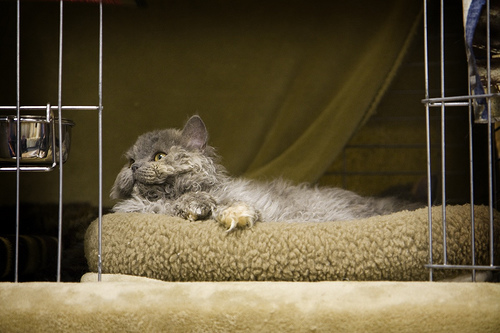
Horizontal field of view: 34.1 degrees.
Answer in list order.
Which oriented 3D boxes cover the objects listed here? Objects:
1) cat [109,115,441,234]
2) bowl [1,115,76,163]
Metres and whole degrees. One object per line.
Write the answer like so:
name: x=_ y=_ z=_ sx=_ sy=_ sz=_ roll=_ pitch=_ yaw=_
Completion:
cat: x=0.010 y=0.125 z=4.463 sx=1.140 sy=0.423 sz=0.848 roll=5 pitch=-16 yaw=-36
bowl: x=-1.055 y=-0.133 z=4.108 sx=0.249 sy=0.163 sz=0.257 roll=0 pitch=-10 yaw=0
